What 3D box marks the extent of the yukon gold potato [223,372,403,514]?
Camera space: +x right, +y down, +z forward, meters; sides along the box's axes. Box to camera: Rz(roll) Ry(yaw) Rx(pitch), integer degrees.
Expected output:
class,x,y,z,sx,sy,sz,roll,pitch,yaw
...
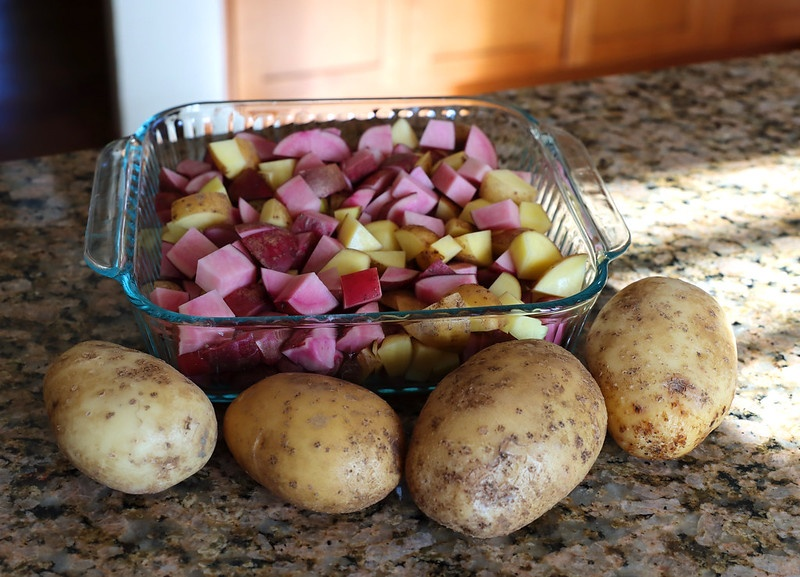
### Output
class,x,y,z,sx,sy,sz,roll,pitch,yaw
yukon gold potato,-0.102,0.175,0.946,0.209,0.113,0.114,6,36,8

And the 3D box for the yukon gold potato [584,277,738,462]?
class,x,y,z,sx,sy,sz,roll,pitch,yaw
yukon gold potato,0.319,0.065,1.045,0.208,0.146,0.245,2,67,-4

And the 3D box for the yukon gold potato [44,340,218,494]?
class,x,y,z,sx,sy,sz,roll,pitch,yaw
yukon gold potato,-0.318,0.152,0.948,0.190,0.133,0.119,15,39,20

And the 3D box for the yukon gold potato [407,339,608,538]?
class,x,y,z,sx,sy,sz,roll,pitch,yaw
yukon gold potato,0.117,0.175,0.944,0.220,0.167,0.166,-27,44,-33
